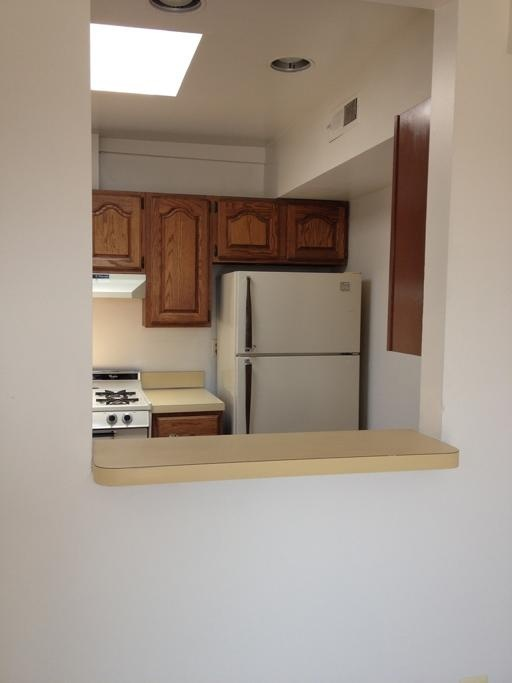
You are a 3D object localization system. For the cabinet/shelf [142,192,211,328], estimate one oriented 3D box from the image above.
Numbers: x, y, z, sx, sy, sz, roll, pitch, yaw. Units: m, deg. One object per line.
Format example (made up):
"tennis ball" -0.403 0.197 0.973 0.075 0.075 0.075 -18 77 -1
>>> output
"cabinet/shelf" -0.428 -0.436 3.365 0.357 0.696 0.104 -1 4 -7

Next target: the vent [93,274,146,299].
"vent" -0.744 -0.297 3.301 0.283 0.124 0.210 -2 5 -24

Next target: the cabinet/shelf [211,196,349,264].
"cabinet/shelf" 0.136 -0.626 3.563 0.774 0.363 0.234 0 3 -5

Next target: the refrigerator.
"refrigerator" 0.209 0.090 3.374 0.646 1.064 0.453 -2 18 -4
